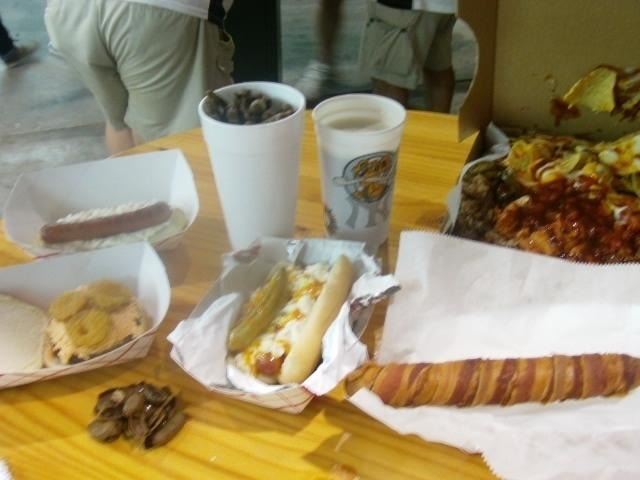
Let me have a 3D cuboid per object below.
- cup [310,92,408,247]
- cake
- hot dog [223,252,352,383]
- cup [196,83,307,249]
[{"bbox_3d":[0.069,-0.110,0.864,0.132,0.225,0.138,-3,33,2],"label":"cup"},{"bbox_3d":[-0.335,0.120,0.769,0.108,0.048,0.118,-14,54,-20],"label":"cake"},{"bbox_3d":[-0.039,0.113,0.726,0.114,0.061,0.204,14,58,31],"label":"hot dog"},{"bbox_3d":[-0.107,-0.111,0.818,0.144,0.248,0.151,1,45,-1],"label":"cup"}]
